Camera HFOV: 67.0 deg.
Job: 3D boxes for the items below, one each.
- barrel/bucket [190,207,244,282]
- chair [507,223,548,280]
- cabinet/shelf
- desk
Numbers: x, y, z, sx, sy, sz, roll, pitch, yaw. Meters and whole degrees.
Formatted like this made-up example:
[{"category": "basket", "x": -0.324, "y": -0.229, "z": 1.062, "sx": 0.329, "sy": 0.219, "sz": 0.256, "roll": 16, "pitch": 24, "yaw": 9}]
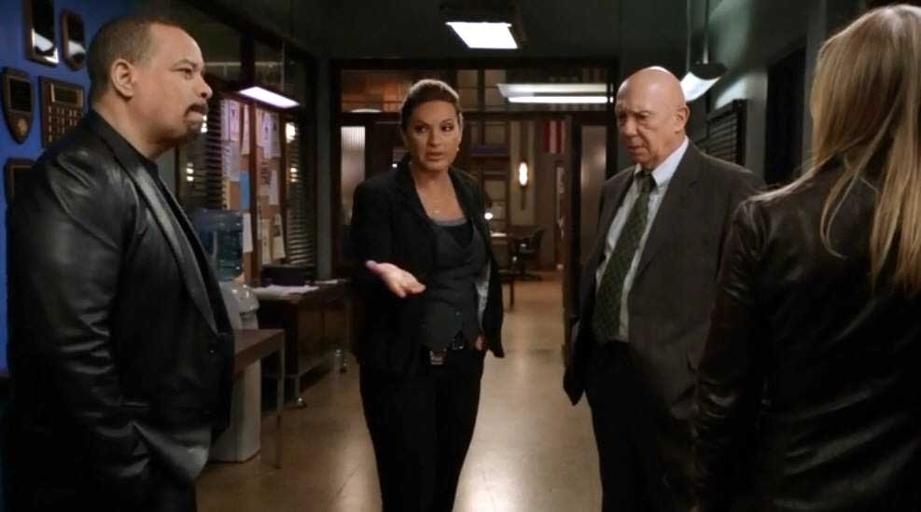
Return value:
[{"category": "barrel/bucket", "x": -1.597, "y": -0.086, "z": 4.582, "sx": 0.425, "sy": 0.541, "sz": 0.569, "roll": 0, "pitch": 4, "yaw": -9}, {"category": "chair", "x": 1.319, "y": -0.121, "z": 14.482, "sx": 0.894, "sy": 1.224, "sz": 0.936, "roll": -1, "pitch": 6, "yaw": -8}, {"category": "cabinet/shelf", "x": -1.241, "y": 0.654, "z": 6.270, "sx": 1.215, "sy": 0.662, "sz": 0.415, "roll": -2, "pitch": 7, "yaw": 4}, {"category": "desk", "x": -1.308, "y": 0.913, "z": 4.576, "sx": 0.311, "sy": 0.899, "sz": 1.059, "roll": -3, "pitch": 9, "yaw": -18}]
